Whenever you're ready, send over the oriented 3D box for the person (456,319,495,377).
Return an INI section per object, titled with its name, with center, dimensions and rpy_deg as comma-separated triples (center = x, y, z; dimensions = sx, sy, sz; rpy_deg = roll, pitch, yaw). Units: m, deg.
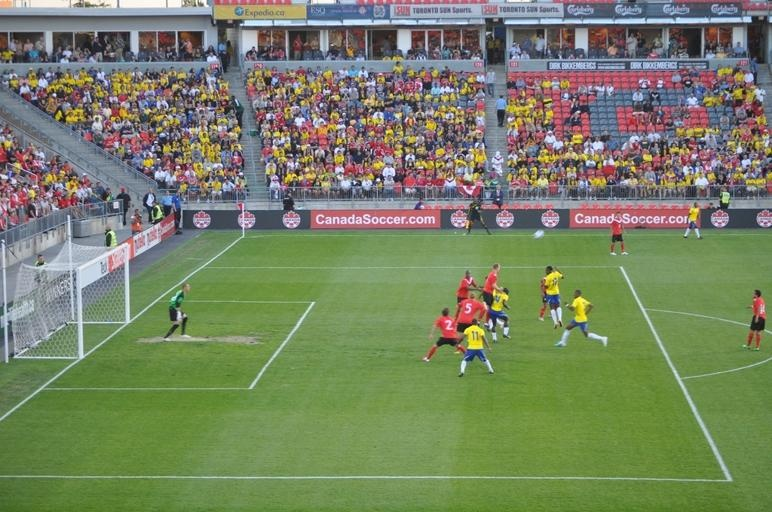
[person]
center = 3.531, 3.472, 47.229
dimensions = 1.372, 2.260, 0.780
rpy_deg = 0, 9, -2
